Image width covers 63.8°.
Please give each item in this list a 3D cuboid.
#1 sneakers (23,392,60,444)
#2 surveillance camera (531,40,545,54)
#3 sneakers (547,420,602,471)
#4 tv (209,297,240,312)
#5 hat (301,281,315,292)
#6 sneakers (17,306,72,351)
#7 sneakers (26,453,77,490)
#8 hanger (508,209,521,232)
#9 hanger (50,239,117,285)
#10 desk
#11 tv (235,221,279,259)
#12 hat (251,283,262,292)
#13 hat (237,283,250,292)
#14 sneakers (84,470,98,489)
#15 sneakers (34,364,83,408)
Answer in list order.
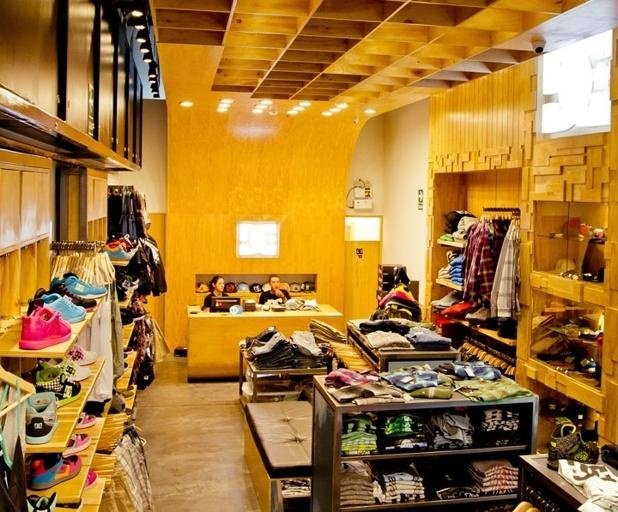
[{"bbox_3d":[-1.067,0.644,1.977,0.082,0.084,0.234,-1,2,-16],"label":"sneakers"},{"bbox_3d":[1.896,-1.747,4.110,0.074,0.078,0.078,0,46,6],"label":"surveillance camera"},{"bbox_3d":[1.341,0.962,2.502,0.153,0.163,0.362,1,2,38],"label":"sneakers"},{"bbox_3d":[-1.283,0.700,7.389,0.412,0.205,0.250,1,-1,-3],"label":"tv"},{"bbox_3d":[-0.011,0.567,9.227,0.300,0.191,0.150,0,-3,-3],"label":"hat"},{"bbox_3d":[-1.075,0.295,2.033,0.114,0.111,0.255,3,5,8],"label":"sneakers"},{"bbox_3d":[-1.162,0.967,2.296,0.082,0.132,0.246,6,6,30],"label":"sneakers"},{"bbox_3d":[2.233,-0.406,5.396,0.084,0.261,0.199,2,0,34],"label":"hanger"},{"bbox_3d":[-1.625,0.041,3.535,0.313,0.199,0.419,1,0,-11],"label":"hanger"},{"bbox_3d":[-0.558,1.528,7.546,2.470,0.980,1.276,-1,-27,12],"label":"desk"},{"bbox_3d":[-0.921,-0.309,8.850,0.774,0.646,0.173,0,3,-11],"label":"tv"},{"bbox_3d":[-0.962,0.568,9.042,0.165,0.154,0.132,-19,34,16],"label":"hat"},{"bbox_3d":[-1.190,0.551,8.979,0.230,0.143,0.126,1,5,-11],"label":"hat"},{"bbox_3d":[-1.149,1.173,2.624,0.048,0.048,0.128,0,4,-2],"label":"sneakers"},{"bbox_3d":[-1.202,0.608,2.383,0.122,0.147,0.357,4,1,12],"label":"sneakers"}]
